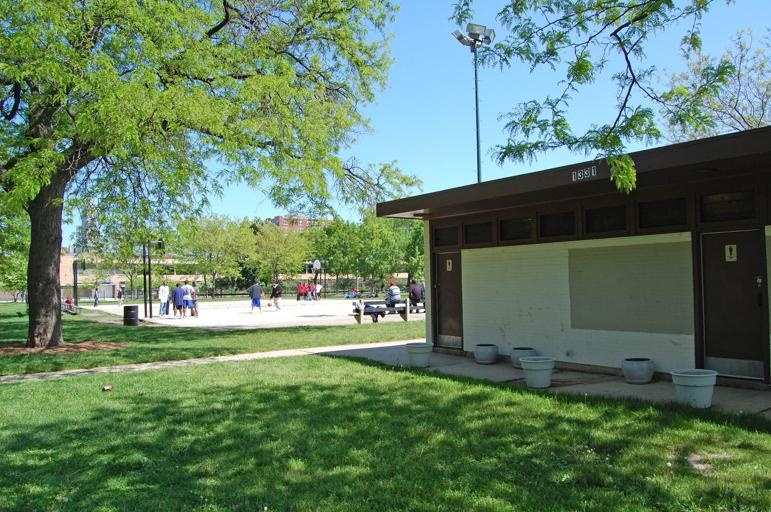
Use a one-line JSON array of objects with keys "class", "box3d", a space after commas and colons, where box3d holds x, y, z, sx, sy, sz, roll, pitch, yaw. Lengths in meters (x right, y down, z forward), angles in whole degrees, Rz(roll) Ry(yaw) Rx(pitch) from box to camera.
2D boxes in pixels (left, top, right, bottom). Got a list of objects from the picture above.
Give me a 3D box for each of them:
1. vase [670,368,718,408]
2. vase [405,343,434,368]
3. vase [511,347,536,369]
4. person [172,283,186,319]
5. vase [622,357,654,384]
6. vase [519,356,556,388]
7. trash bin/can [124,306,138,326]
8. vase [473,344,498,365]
[{"class": "vase", "box3d": [5.744, 2.444, 11.394, 0.669, 0.525, 0.698, 0, -6, 7]}, {"class": "vase", "box3d": [0.849, 2.465, 15.263, 0.560, 0.412, 0.565, 6, -12, -23]}, {"class": "vase", "box3d": [3.314, 2.403, 14.818, 0.473, 0.364, 0.521, 0, -2, 42]}, {"class": "person", "box3d": [-10.700, 2.464, 31.820, 0.602, 1.624, 1.382, -7, 13, -19]}, {"class": "vase", "box3d": [5.422, 2.415, 13.178, 0.518, 0.423, 0.542, -2, -1, 13]}, {"class": "vase", "box3d": [3.193, 2.454, 12.942, 0.660, 0.645, 0.552, -1, 12, 9]}, {"class": "trash bin/can", "box3d": [-11.201, 2.632, 27.001, 0.613, 0.659, 1.045, -9, 14, -27]}, {"class": "vase", "box3d": [2.531, 2.477, 15.532, 0.473, 0.324, 0.459, -2, -5, 11]}]
